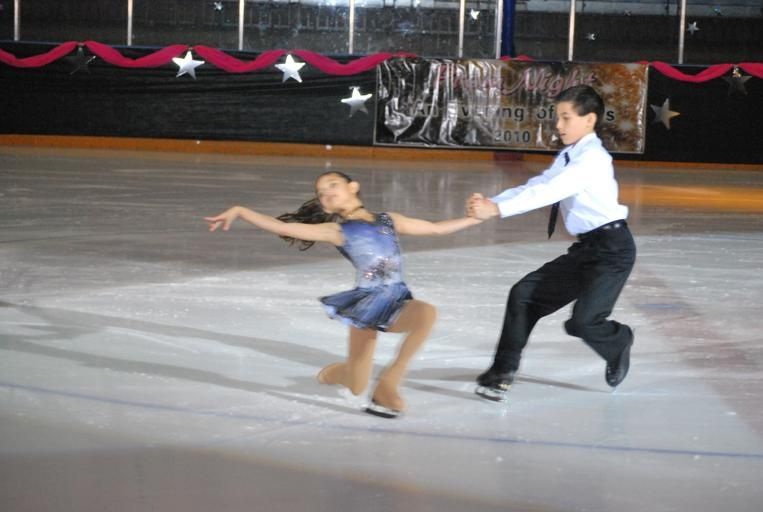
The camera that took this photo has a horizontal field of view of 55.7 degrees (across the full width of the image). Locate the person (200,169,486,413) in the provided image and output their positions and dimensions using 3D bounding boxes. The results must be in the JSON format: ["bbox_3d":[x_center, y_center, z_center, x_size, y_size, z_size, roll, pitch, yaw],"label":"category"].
[{"bbox_3d":[-0.089,0.132,2.927,0.842,0.937,0.446,4,10,7],"label":"person"}]

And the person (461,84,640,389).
[{"bbox_3d":[0.782,-0.076,3.067,0.844,1.312,0.354,1,11,-15],"label":"person"}]

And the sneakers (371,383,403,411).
[{"bbox_3d":[0.025,0.542,2.806,0.126,0.108,0.057,7,10,26],"label":"sneakers"}]

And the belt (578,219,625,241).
[{"bbox_3d":[0.931,-0.108,3.048,0.191,0.095,0.101,3,8,10],"label":"belt"}]
